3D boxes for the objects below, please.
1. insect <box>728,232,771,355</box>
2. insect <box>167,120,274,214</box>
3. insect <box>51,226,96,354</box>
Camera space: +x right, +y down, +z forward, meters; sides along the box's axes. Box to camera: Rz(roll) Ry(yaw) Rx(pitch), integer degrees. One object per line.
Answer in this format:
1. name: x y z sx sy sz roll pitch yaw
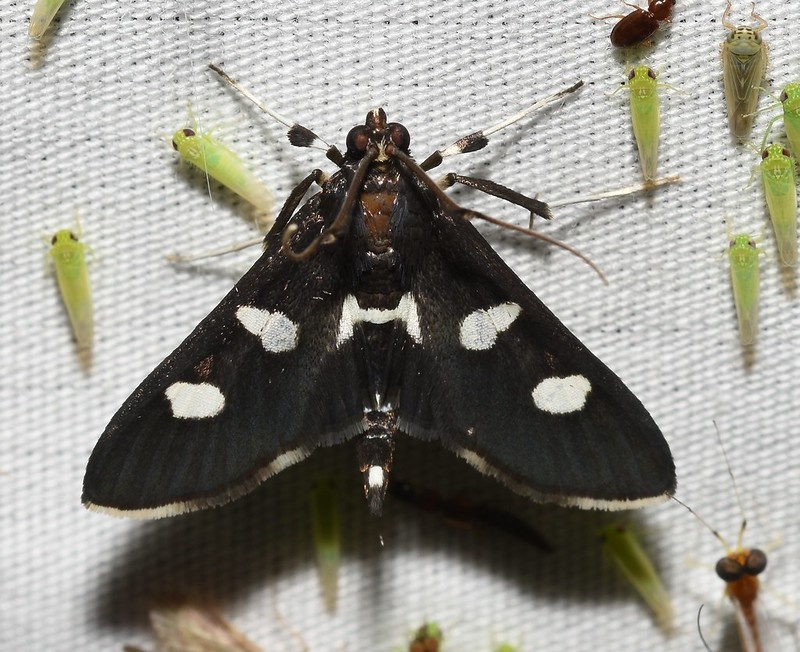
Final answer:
1. insect: 1.083 -0.174 3.683 0.123 0.388 0.126 -5 71 15
2. insect: -0.556 -0.490 3.663 0.210 0.295 0.095 -45 15 6
3. insect: -1.008 -0.121 3.710 0.120 0.390 0.110 -6 15 -5
